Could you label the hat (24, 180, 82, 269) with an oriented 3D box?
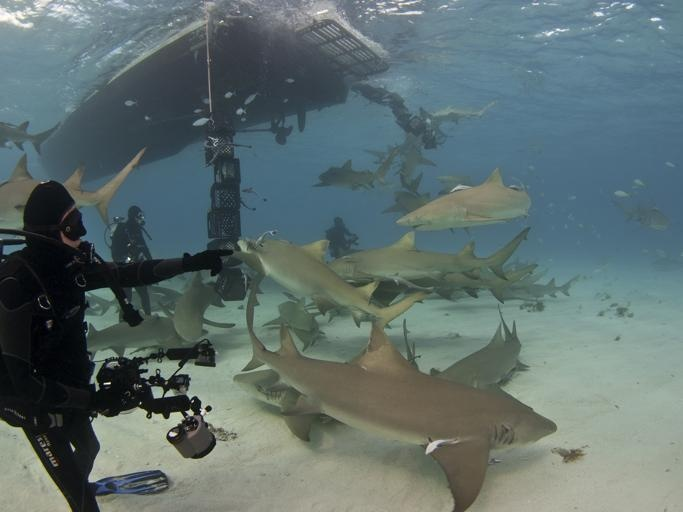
[{"bbox_3d":[-4.992,-0.597,10.311,0.990,1.089,1.041,-6,42,-3],"label":"hat"}]
